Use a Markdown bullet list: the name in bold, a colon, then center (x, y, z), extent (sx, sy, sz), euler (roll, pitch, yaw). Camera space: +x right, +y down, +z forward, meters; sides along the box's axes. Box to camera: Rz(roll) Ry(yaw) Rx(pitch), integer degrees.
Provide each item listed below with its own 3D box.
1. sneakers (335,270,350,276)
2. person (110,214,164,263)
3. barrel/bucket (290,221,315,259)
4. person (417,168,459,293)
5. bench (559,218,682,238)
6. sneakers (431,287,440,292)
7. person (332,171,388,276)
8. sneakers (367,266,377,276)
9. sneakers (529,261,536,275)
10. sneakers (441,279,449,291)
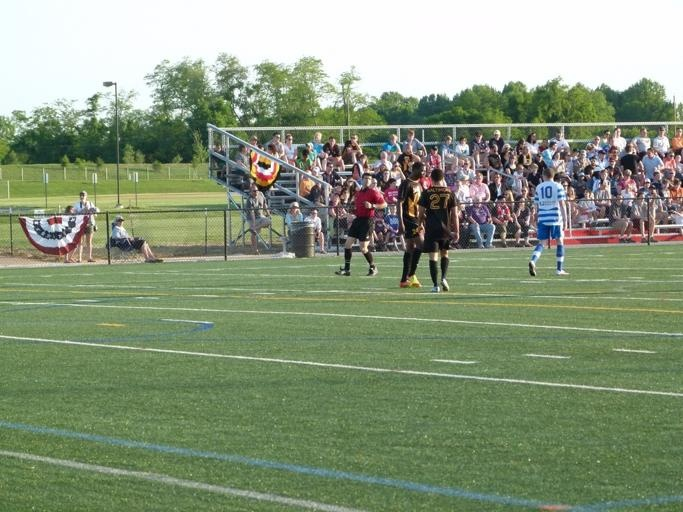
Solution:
- **sneakers**: center (0.018, 0.341, 22.326), extent (0.112, 0.120, 0.296), euler (0, 7, -39)
- **person**: center (-5.316, -0.461, 28.693), extent (1.130, 1.124, 2.253), euler (0, 6, -10)
- **barrel/bucket**: center (-1.016, -0.440, 29.272), extent (0.596, 0.935, 0.739), euler (0, 5, -5)
- **person**: center (1.579, -0.402, 18.328), extent (0.673, 2.014, 0.693), euler (3, 6, 26)
- **bench**: center (8.238, -0.720, 32.851), extent (3.516, 0.704, 0.684), euler (1, 5, 0)
- **sneakers**: center (1.529, 0.549, 18.470), extent (0.080, 0.064, 0.158), euler (-1, -5, 4)
- **person**: center (0.320, -0.617, 21.830), extent (1.062, 2.003, 0.998), euler (2, 0, -12)
- **sneakers**: center (0.597, 0.290, 22.372), extent (0.098, 0.182, 0.286), euler (2, 13, 10)
- **sneakers**: center (3.585, 0.232, 21.222), extent (0.108, 0.140, 0.305), euler (-8, -41, 21)
- **sneakers**: center (1.691, 0.491, 18.369), extent (0.104, 0.120, 0.268), euler (-8, -28, 3)
